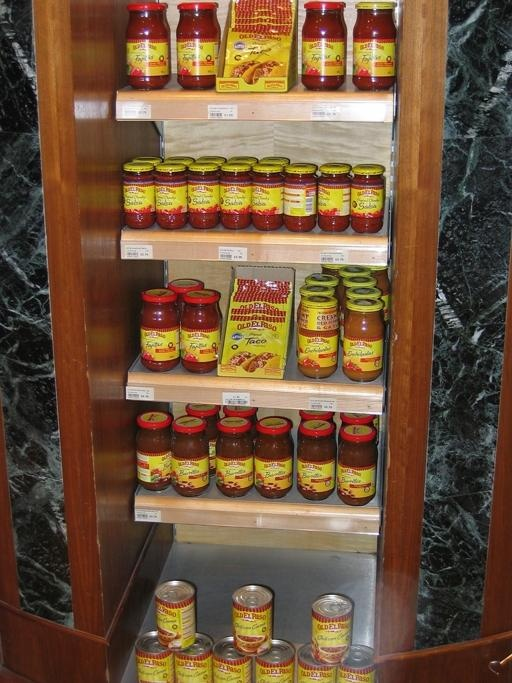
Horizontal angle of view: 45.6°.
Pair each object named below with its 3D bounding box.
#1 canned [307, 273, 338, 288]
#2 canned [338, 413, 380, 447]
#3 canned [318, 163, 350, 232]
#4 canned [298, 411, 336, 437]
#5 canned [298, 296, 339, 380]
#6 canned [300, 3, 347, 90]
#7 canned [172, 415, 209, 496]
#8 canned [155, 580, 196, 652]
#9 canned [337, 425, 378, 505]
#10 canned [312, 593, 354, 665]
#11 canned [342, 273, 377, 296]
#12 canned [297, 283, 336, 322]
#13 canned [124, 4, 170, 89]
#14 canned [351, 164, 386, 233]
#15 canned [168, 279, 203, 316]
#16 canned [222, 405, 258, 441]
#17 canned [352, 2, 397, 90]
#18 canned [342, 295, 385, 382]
[{"bbox_3d":[0.189,-0.176,1.734,0.060,0.050,0.055,-6,22,-22],"label":"canned"},{"bbox_3d":[0.309,0.256,1.820,0.104,0.098,0.099,-3,8,-22],"label":"canned"},{"bbox_3d":[0.208,-0.380,1.614,0.119,0.163,0.115,6,19,21],"label":"canned"},{"bbox_3d":[0.174,0.239,1.809,0.074,0.070,0.070,-2,7,-11],"label":"canned"},{"bbox_3d":[0.168,-0.010,1.687,0.130,0.212,0.123,5,13,14],"label":"canned"},{"bbox_3d":[0.162,-0.707,1.469,0.104,0.202,0.071,-1,11,3],"label":"canned"},{"bbox_3d":[-0.201,0.356,1.841,0.129,0.206,0.121,0,2,-14],"label":"canned"},{"bbox_3d":[-0.227,0.782,1.730,0.110,0.153,0.103,-1,6,-22],"label":"canned"},{"bbox_3d":[0.292,0.370,1.769,0.133,0.206,0.125,1,3,-14],"label":"canned"},{"bbox_3d":[0.206,0.792,1.667,0.100,0.139,0.092,1,3,-9],"label":"canned"},{"bbox_3d":[0.288,-0.165,1.696,0.068,0.064,0.067,9,20,30],"label":"canned"},{"bbox_3d":[0.160,-0.107,1.655,0.101,0.100,0.098,0,12,1],"label":"canned"},{"bbox_3d":[-0.271,-0.736,1.524,0.102,0.204,0.063,-4,11,-13],"label":"canned"},{"bbox_3d":[0.286,-0.373,1.590,0.081,0.180,0.090,-5,11,-18],"label":"canned"},{"bbox_3d":[-0.213,-0.138,1.812,0.112,0.107,0.106,-1,18,-5],"label":"canned"},{"bbox_3d":[-0.050,0.241,1.895,0.110,0.096,0.106,3,9,18],"label":"canned"},{"bbox_3d":[0.276,-0.692,1.434,0.091,0.193,0.048,1,11,10],"label":"canned"},{"bbox_3d":[0.285,0.000,1.645,0.125,0.204,0.121,6,13,23],"label":"canned"}]
